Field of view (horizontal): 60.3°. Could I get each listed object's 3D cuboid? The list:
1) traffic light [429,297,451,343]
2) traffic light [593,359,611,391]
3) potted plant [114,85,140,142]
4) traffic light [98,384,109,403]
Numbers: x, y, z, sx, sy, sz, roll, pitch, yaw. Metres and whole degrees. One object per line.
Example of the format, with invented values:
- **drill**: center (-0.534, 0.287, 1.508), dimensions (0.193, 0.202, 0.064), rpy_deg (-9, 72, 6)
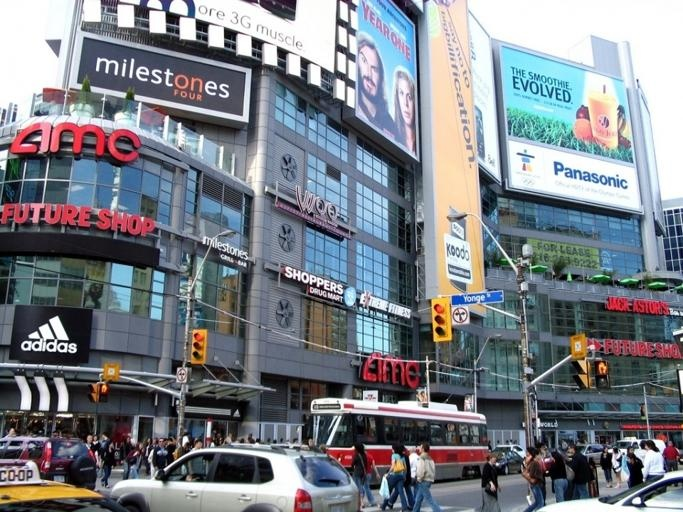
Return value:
- **traffic light**: center (3.812, 2.304, 22.411), dimensions (0.702, 1.762, 1.003), rpy_deg (-4, -17, 8)
- **traffic light**: center (11.247, 5.069, 25.543), dimensions (0.616, 1.294, 1.087), rpy_deg (-8, -19, 22)
- **potted plant**: center (-14.191, -9.958, 38.938), dimensions (1.287, 3.431, 1.203), rpy_deg (3, -17, -14)
- **traffic light**: center (-11.993, 6.842, 29.645), dimensions (0.360, 0.884, 0.934), rpy_deg (3, -18, -13)
